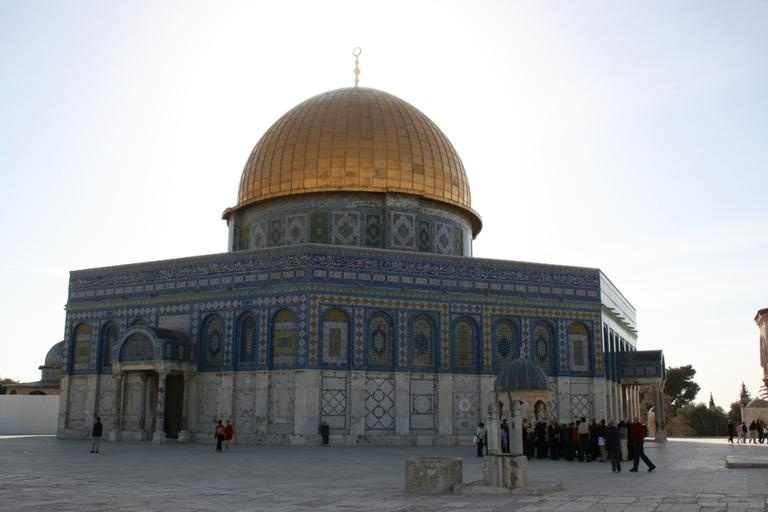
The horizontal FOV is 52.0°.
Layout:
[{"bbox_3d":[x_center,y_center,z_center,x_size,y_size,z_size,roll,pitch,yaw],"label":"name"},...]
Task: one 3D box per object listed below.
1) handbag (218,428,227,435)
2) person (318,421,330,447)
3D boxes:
[{"bbox_3d":[-6.683,7.201,32.395,0.238,0.352,0.112,1,1,-8],"label":"handbag"},{"bbox_3d":[-2.716,7.961,35.579,0.392,1.099,0.544,0,-16,-10],"label":"person"}]
